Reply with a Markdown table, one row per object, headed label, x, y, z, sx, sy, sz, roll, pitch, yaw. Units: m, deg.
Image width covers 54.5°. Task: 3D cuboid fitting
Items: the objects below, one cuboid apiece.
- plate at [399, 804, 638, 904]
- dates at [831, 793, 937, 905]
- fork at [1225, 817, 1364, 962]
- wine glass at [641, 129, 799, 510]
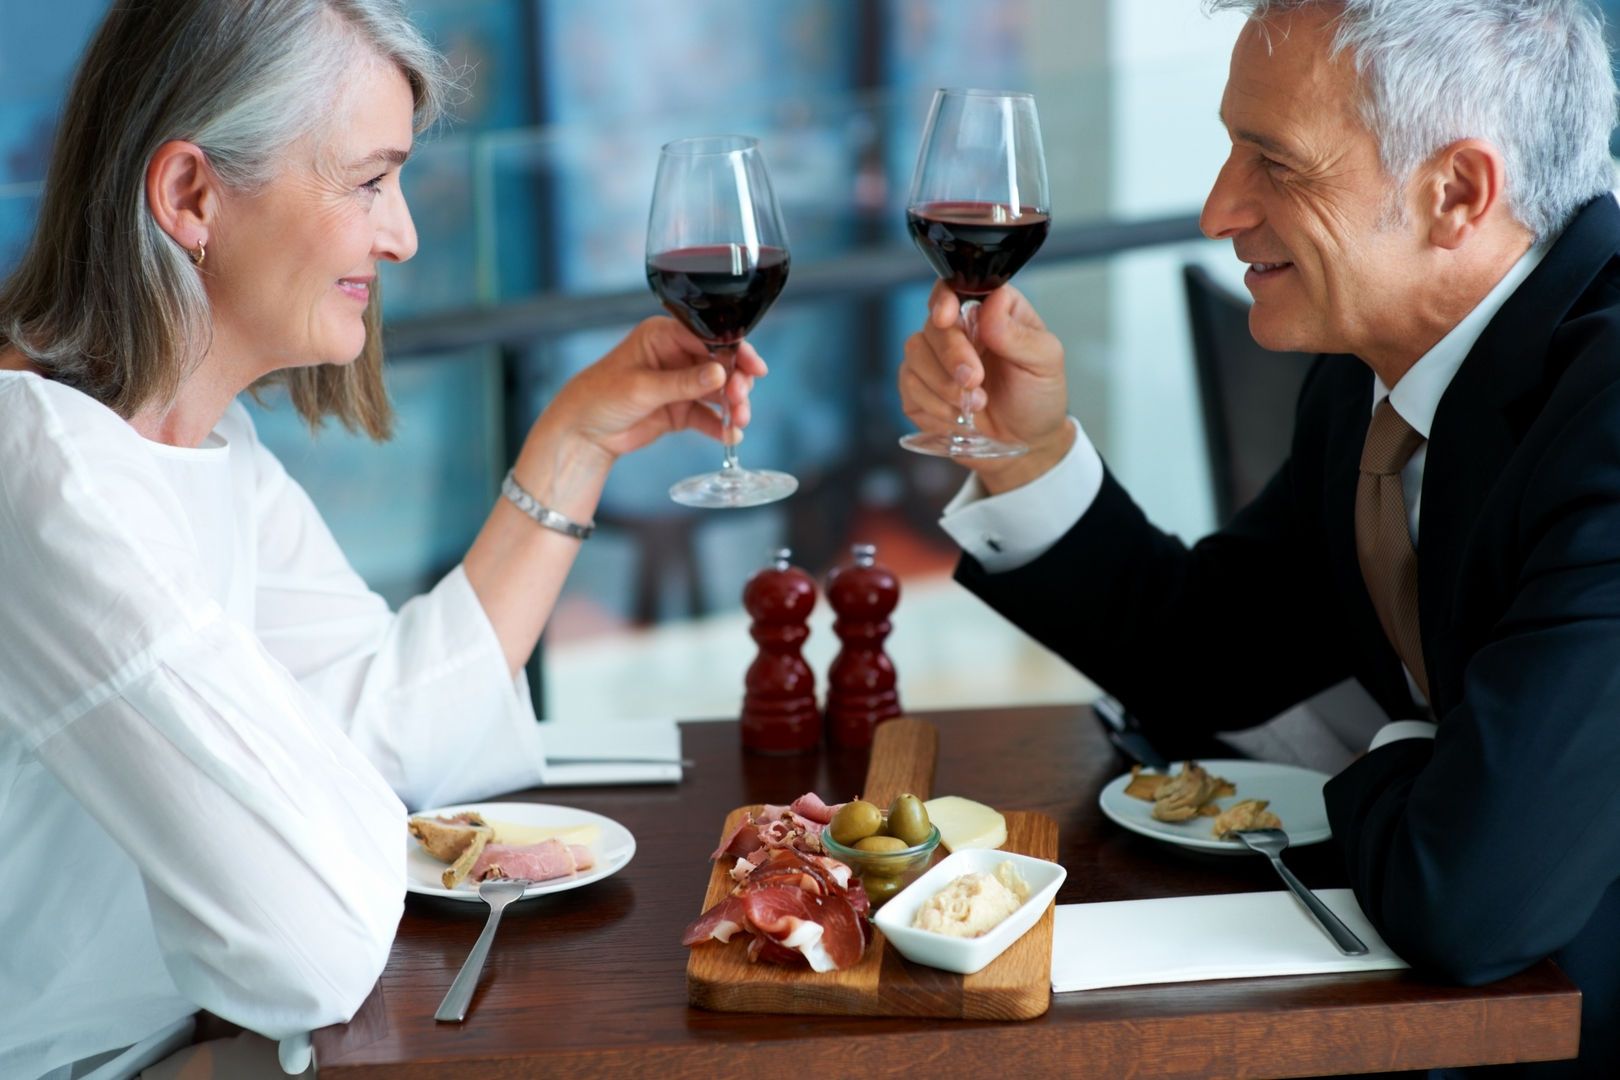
| label | x | y | z | sx | sy | sz | roll | pitch | yaw |
| --- | --- | --- | --- | --- | --- | --- | --- | --- | --- |
| plate | -0.346 | 0.375 | 1.871 | 0.238 | 0.054 | 0.208 | 8 | 10 | 11 |
| dates | 0.080 | 0.338 | 1.766 | 0.118 | 0.109 | 0.117 | 1 | -4 | -6 |
| fork | 0.562 | 0.393 | 1.782 | 0.047 | 0.017 | 0.201 | -7 | 21 | -12 |
| wine glass | -0.095 | -0.260 | 1.942 | 0.187 | 0.469 | 0.183 | 2 | 18 | 9 |
